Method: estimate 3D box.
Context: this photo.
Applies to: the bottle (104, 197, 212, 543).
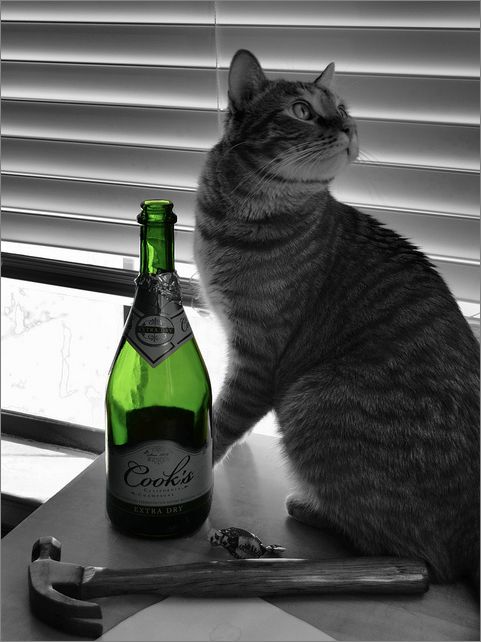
[{"bbox_3d":[-0.080,0.047,0.678,0.150,0.349,0.130,-2,15,-9],"label":"bottle"}]
